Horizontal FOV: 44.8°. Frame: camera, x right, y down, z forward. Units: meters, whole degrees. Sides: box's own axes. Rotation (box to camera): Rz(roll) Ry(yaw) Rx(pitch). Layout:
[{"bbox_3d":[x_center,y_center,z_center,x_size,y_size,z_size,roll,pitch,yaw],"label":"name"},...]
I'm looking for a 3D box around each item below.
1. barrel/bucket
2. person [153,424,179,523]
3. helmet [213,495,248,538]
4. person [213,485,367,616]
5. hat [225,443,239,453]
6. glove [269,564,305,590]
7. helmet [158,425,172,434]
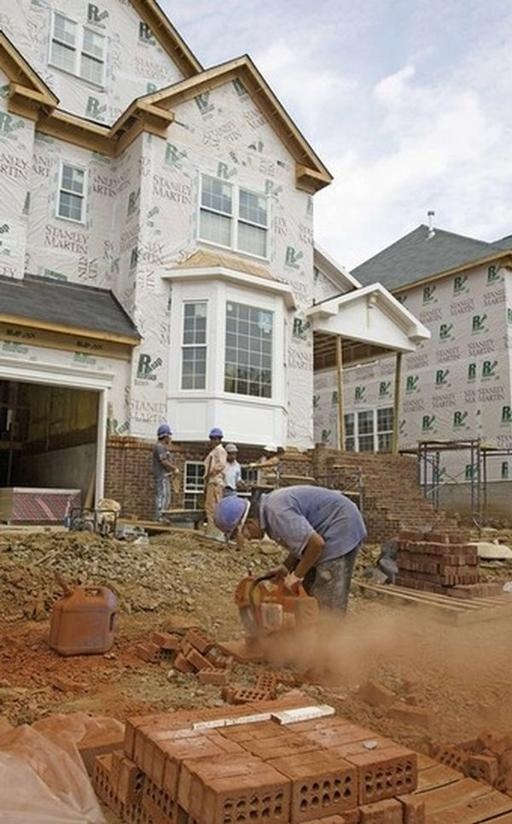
[{"bbox_3d":[-1.384,1.693,4.951,0.578,0.557,0.435,13,-17,-31],"label":"barrel/bucket"},{"bbox_3d":[-1.660,1.090,11.238,0.402,1.712,1.177,2,-5,-9],"label":"person"},{"bbox_3d":[-0.202,0.846,4.957,0.256,0.320,0.309,5,-6,-37],"label":"helmet"},{"bbox_3d":[0.291,1.202,5.304,1.210,1.358,0.900,1,-20,1],"label":"person"},{"bbox_3d":[-0.415,0.634,10.700,0.137,0.166,0.175,6,-7,-40],"label":"hat"},{"bbox_3d":[0.235,1.306,4.847,0.160,0.066,0.214,21,-10,-20],"label":"glove"},{"bbox_3d":[-1.671,0.343,11.398,0.143,0.143,0.214,4,4,31],"label":"helmet"}]
